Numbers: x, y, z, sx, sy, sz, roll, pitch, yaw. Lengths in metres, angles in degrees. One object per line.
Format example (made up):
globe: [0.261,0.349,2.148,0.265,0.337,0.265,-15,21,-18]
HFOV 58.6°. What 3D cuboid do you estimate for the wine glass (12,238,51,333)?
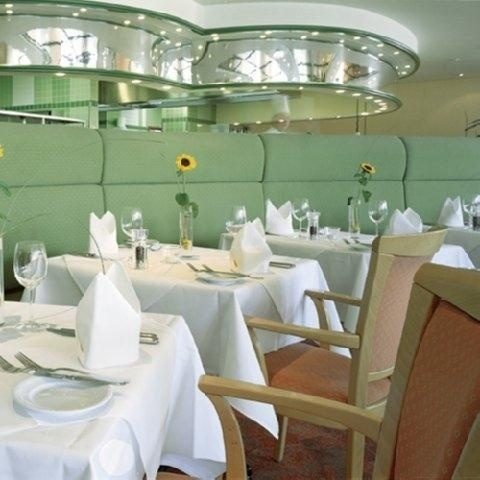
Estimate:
wine glass: [-0.512,0.095,1.053,0.069,0.203,0.222,-3,9,-26]

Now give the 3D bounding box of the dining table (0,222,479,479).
dining table: [0.174,0.262,1.855,1.255,1.051,0.739,5,2,36]

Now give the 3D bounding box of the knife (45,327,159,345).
knife: [-0.310,0.211,0.973,0.271,0.011,0.068,3,8,7]

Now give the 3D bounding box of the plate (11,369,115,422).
plate: [-0.279,0.245,0.660,0.155,0.020,0.107,3,8,10]

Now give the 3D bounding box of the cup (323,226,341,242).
cup: [0.559,-0.033,2.614,0.090,0.083,0.090,-2,1,0]
